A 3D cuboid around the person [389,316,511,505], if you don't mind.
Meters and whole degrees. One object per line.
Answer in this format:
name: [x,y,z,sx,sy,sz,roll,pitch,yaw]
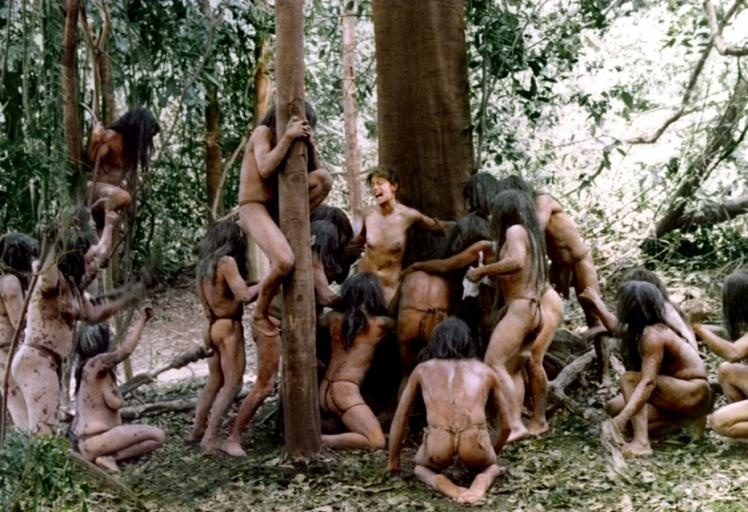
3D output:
person: [0.715,1.422,8.508,1.118,1.561,0.646,8,10,10]
